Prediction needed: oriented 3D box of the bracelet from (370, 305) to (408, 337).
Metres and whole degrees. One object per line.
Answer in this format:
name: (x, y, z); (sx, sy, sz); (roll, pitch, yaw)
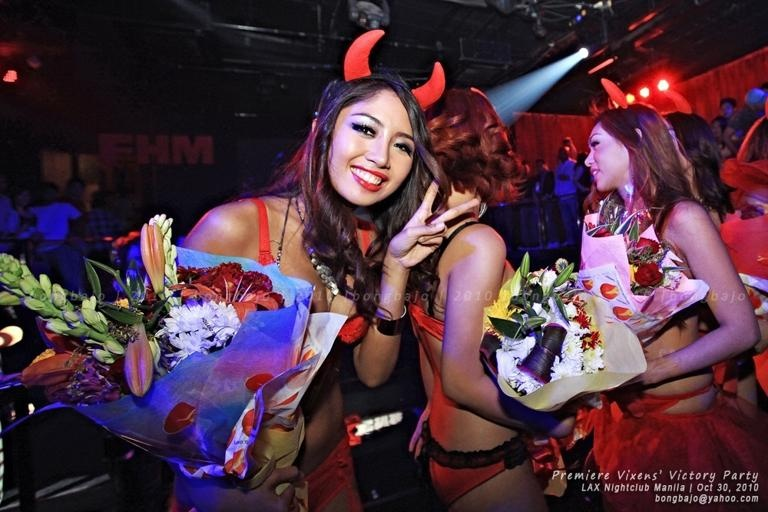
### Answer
bracelet: (0.038, 0.406, 3.328); (0.175, 0.158, 0.192); (2, -1, -1)

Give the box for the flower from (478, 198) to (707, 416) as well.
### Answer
flower: (1.022, 0.275, 3.056); (1.089, 1.128, 0.693); (42, -18, -27)
